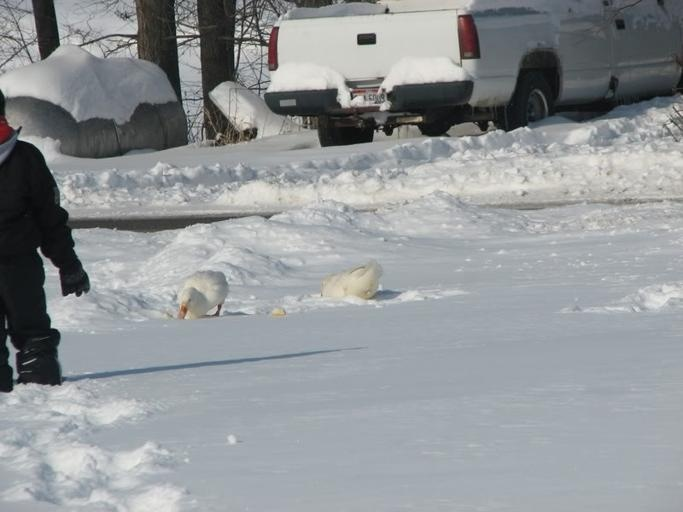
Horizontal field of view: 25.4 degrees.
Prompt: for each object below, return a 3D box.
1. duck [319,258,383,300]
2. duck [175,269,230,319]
[{"bbox_3d":[0.059,0.175,11.926,0.512,0.281,0.376,-1,14,11],"label":"duck"},{"bbox_3d":[-1.098,0.304,11.893,0.361,0.308,0.363,-2,14,7],"label":"duck"}]
